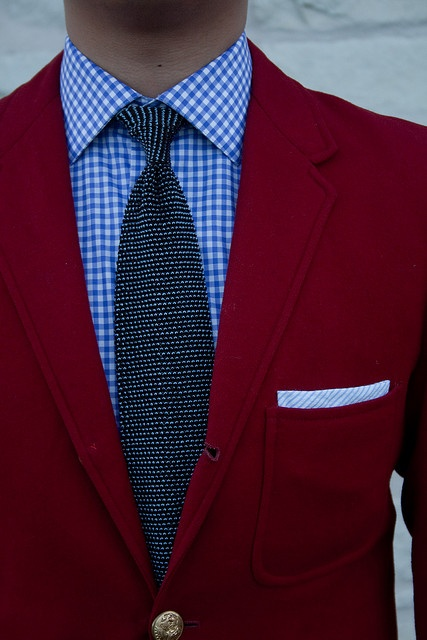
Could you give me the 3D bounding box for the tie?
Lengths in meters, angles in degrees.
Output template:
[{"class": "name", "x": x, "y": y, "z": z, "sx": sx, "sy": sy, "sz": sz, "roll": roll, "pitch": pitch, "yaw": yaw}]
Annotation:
[{"class": "tie", "x": -0.067, "y": 0.023, "z": 0.881, "sx": 0.103, "sy": 0.545, "sz": 0.077, "roll": -2, "pitch": -9, "yaw": -1}]
